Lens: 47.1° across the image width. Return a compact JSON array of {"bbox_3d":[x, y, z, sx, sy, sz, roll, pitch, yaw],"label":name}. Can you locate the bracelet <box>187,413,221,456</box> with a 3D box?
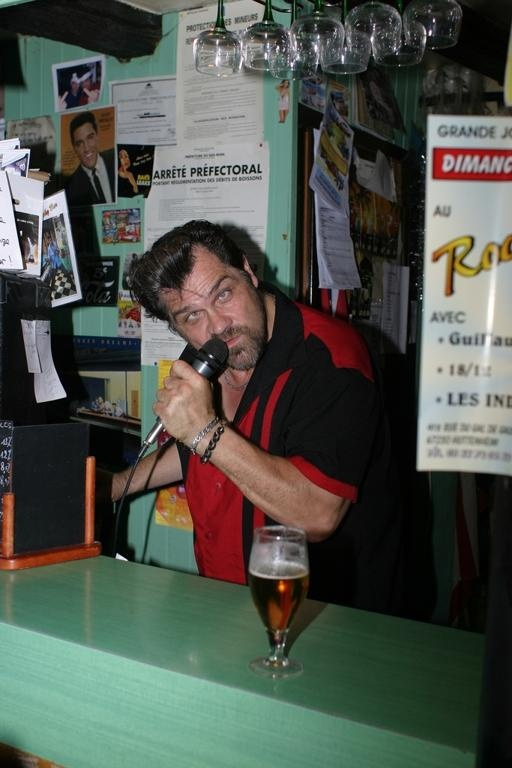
[{"bbox_3d":[-0.111,0.107,1.281,0.072,0.022,0.063,-51,-1,-17],"label":"bracelet"}]

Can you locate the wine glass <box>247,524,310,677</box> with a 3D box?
[{"bbox_3d":[0.026,0.258,0.682,0.066,0.160,0.091,1,-1,1],"label":"wine glass"}]

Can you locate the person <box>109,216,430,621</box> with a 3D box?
[{"bbox_3d":[0.012,0.105,1.558,0.677,1.075,0.691,0,-1,28],"label":"person"}]
